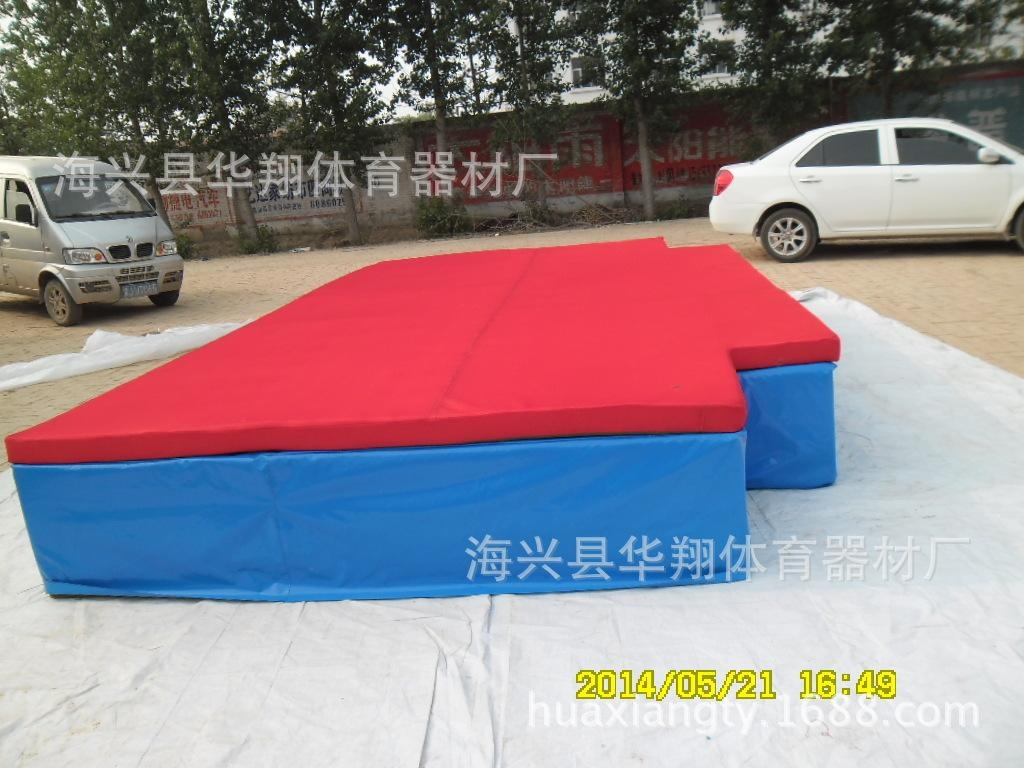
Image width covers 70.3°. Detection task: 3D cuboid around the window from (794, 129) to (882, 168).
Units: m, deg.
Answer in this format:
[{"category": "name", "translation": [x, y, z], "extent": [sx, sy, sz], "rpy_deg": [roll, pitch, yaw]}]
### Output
[{"category": "window", "translation": [3.848, -2.749, 8.419], "extent": [0.631, 0.230, 0.388], "rpy_deg": [-25, 36, -25]}]

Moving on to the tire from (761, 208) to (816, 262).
[{"category": "tire", "translation": [3.451, -1.783, 9.060], "extent": [0.627, 0.682, 0.236], "rpy_deg": [6, -7, 23]}]

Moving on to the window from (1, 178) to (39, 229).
[{"category": "window", "translation": [-6.101, -2.238, 8.987], "extent": [0.854, 0.540, 0.294], "rpy_deg": [16, 32, 42]}]
